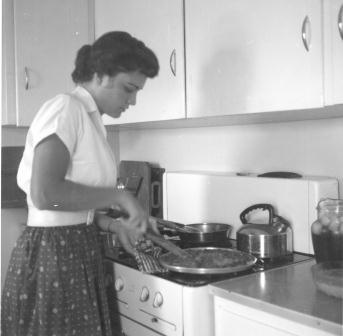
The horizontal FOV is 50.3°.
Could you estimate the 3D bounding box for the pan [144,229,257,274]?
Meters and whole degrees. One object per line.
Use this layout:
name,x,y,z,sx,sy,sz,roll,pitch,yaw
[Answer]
pan,0.103,0.274,1.231,0.315,0.108,0.332,-1,0,-40

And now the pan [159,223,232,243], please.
pan,0.067,0.270,1.579,0.341,0.048,0.218,-2,8,36
